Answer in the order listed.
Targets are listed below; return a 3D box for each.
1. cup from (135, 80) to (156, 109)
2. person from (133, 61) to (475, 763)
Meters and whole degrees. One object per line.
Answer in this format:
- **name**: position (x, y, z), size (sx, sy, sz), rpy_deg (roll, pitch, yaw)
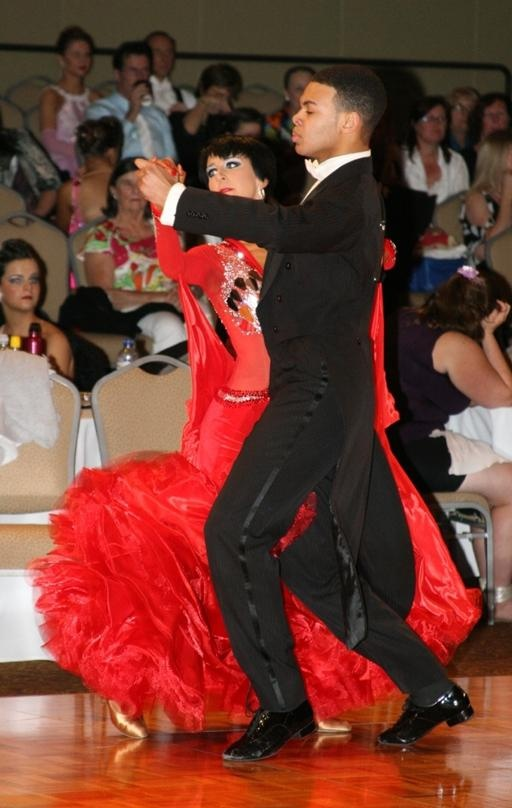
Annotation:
- **cup**: position (-0.673, -1.881, 4.372), size (0.123, 0.168, 0.099), rpy_deg (-6, -8, 0)
- **person**: position (0.055, 0.004, 1.398), size (0.752, 1.259, 0.412), rpy_deg (3, -4, -16)
